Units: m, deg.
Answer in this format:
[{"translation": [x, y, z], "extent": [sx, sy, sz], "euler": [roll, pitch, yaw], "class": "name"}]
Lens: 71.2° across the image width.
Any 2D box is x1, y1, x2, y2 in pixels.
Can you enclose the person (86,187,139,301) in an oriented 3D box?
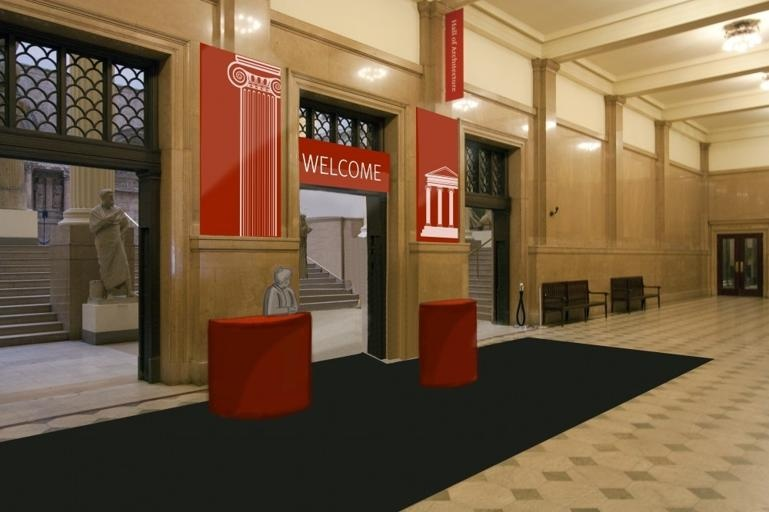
[{"translation": [-5.540, -0.247, 10.863], "extent": [0.719, 2.142, 0.644], "euler": [-6, 9, -42], "class": "person"}]
